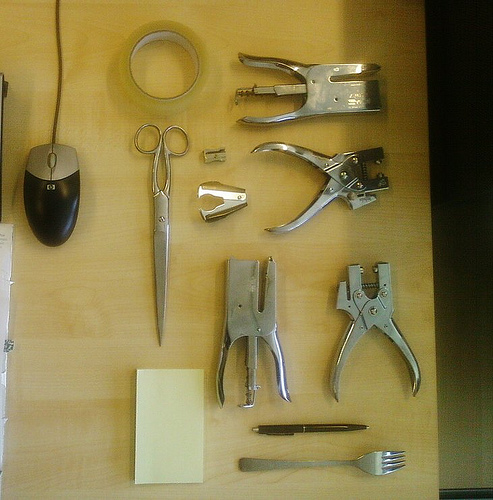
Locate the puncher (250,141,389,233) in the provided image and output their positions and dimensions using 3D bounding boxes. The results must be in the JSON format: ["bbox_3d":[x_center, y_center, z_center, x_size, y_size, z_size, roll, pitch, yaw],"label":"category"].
[{"bbox_3d":[0.127,-0.107,0.989,0.234,0.144,0.052,0,-18,-10],"label":"puncher"}]

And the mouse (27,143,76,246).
[{"bbox_3d":[-0.323,-0.089,0.938,0.088,0.149,0.038,0,3,-6],"label":"mouse"}]

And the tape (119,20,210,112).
[{"bbox_3d":[-0.143,-0.319,0.998,0.151,0.153,0.070,0,-18,-12],"label":"tape"}]

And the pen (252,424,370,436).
[{"bbox_3d":[0.099,0.302,0.972,0.206,0.019,0.016,1,8,0],"label":"pen"}]

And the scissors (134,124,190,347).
[{"bbox_3d":[-0.161,-0.023,0.964,0.107,0.354,0.015,1,-3,-6],"label":"scissors"}]
